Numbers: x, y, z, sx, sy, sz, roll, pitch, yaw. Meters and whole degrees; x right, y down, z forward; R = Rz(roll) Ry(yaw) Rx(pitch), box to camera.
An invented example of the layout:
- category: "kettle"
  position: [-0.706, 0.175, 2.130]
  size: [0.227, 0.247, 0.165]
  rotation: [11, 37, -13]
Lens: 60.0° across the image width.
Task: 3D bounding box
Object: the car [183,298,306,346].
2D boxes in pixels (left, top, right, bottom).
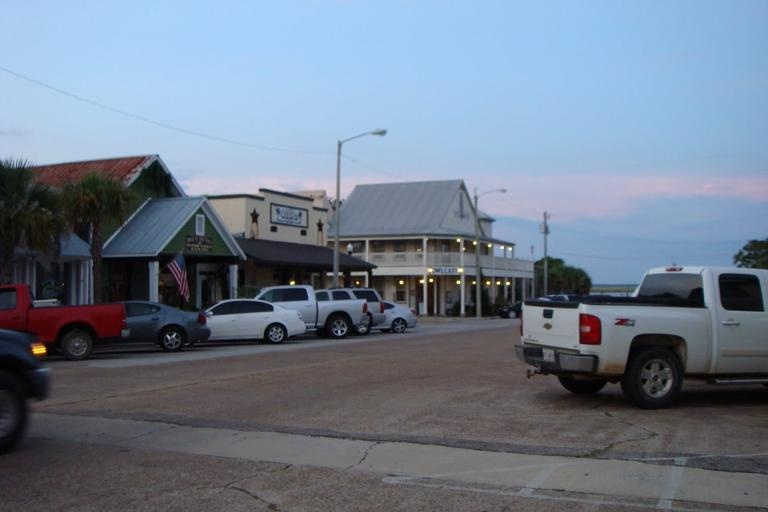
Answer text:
- category: "car"
  position: [-4.926, 2.489, 24.938]
  size: [3.440, 1.189, 1.487]
  rotation: [5, -7, -20]

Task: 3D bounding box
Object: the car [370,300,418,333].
- category: "car"
  position: [0.522, 3.114, 32.786]
  size: [2.097, 0.949, 1.131]
  rotation: [2, -3, -7]

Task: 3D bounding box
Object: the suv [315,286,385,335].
- category: "suv"
  position: [-1.434, 2.321, 29.262]
  size: [2.964, 1.477, 1.562]
  rotation: [4, -6, -28]
